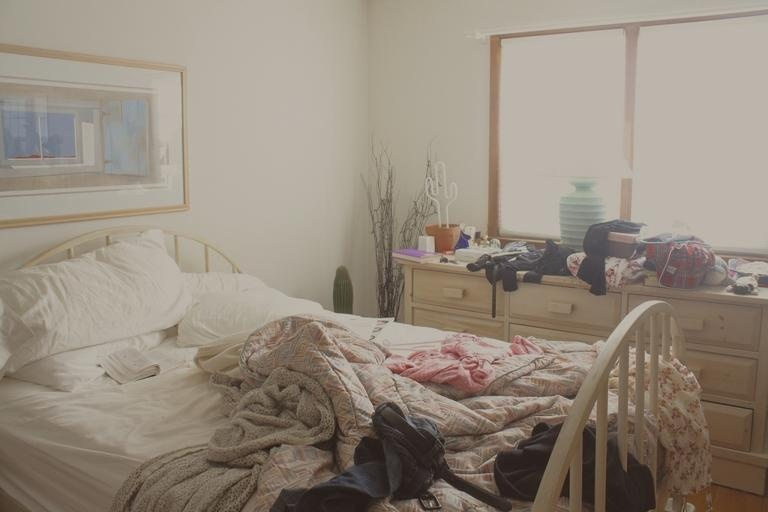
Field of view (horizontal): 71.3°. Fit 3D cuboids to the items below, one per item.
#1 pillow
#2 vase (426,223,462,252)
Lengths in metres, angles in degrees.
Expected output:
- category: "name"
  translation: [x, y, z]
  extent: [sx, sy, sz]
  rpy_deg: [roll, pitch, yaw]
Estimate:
- category: "pillow"
  translation: [-1.404, 0.277, 2.727]
  extent: [0.865, 0.394, 1.167]
  rpy_deg: [14, 20, 22]
- category: "vase"
  translation: [0.442, -0.127, 3.926]
  extent: [0.223, 0.169, 0.221]
  rpy_deg: [0, 8, -1]
